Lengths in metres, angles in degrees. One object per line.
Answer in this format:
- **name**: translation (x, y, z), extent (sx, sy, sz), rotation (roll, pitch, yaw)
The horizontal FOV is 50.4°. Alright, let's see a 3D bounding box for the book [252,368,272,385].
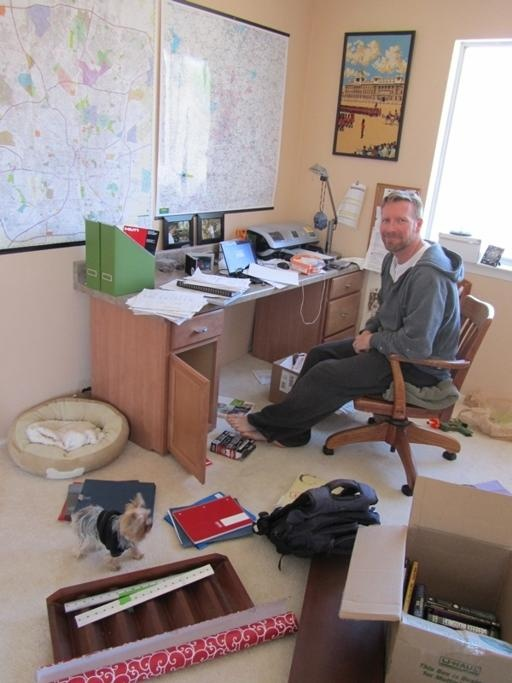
- **book**: translation (0.039, 0.210, 3.325), extent (0.076, 0.024, 0.110), rotation (-5, 24, -22)

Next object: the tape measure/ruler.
- **tape measure/ruler**: translation (-0.314, 0.740, 1.605), extent (0.465, 0.018, 0.122), rotation (-11, 16, -18)

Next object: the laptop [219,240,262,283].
- **laptop**: translation (-0.106, -0.436, 2.840), extent (0.167, 0.215, 0.270), rotation (16, 17, 37)

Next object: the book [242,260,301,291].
- **book**: translation (0.081, -0.344, 2.802), extent (0.195, 0.059, 0.196), rotation (3, 27, -38)

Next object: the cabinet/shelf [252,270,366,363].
- **cabinet/shelf**: translation (0.354, -0.313, 3.750), extent (0.707, 0.884, 0.508), rotation (14, 32, 23)

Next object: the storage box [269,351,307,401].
- **storage box**: translation (0.168, 0.186, 2.841), extent (0.124, 0.154, 0.226), rotation (11, 22, 21)

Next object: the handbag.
- **handbag**: translation (0.219, 0.602, 1.849), extent (0.354, 0.141, 0.252), rotation (-11, 16, -20)

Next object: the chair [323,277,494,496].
- **chair**: translation (0.804, 0.129, 2.691), extent (0.871, 1.018, 0.919), rotation (6, 18, 1)

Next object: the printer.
- **printer**: translation (0.177, -0.628, 3.329), extent (0.315, 0.136, 0.427), rotation (26, 32, 31)

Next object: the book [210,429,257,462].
- **book**: translation (-0.102, 0.467, 2.490), extent (0.133, 0.032, 0.122), rotation (16, 24, 29)

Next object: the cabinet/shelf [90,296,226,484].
- **cabinet/shelf**: translation (-0.376, 0.147, 2.443), extent (0.478, 0.618, 0.813), rotation (-13, 29, -37)

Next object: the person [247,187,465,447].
- **person**: translation (0.173, -0.224, 2.888), extent (1.475, 1.483, 0.705), rotation (0, 24, 7)

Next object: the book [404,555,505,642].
- **book**: translation (0.520, 0.673, 1.416), extent (0.205, 0.124, 0.202), rotation (6, 4, 21)
